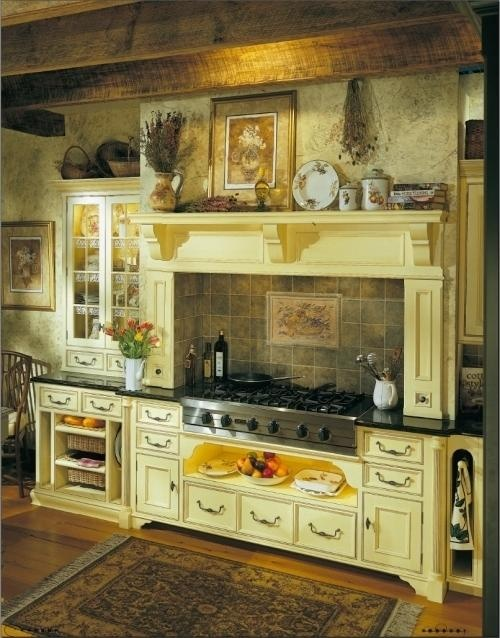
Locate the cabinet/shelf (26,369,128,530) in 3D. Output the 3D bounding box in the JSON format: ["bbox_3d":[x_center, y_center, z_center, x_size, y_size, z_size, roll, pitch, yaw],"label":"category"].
[{"bbox_3d":[-1.106,0.872,3.823,1.030,0.931,0.357,2,0,26],"label":"cabinet/shelf"}]

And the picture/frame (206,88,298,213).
[{"bbox_3d":[0.034,-0.947,3.287,0.770,0.880,0.064,3,6,29],"label":"picture/frame"}]

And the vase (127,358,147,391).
[{"bbox_3d":[-0.695,0.334,3.563,0.186,0.173,0.107,6,11,28],"label":"vase"}]

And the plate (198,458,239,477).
[{"bbox_3d":[-0.192,0.875,3.456,0.227,0.035,0.269,-2,5,-7],"label":"plate"}]

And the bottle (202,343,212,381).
[{"bbox_3d":[-0.270,0.272,3.757,0.062,0.256,0.138,-2,5,-9],"label":"bottle"}]

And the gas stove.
[{"bbox_3d":[0.157,0.537,3.283,1.032,0.229,0.470,1,6,26],"label":"gas stove"}]

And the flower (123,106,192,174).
[{"bbox_3d":[-0.539,-1.078,3.554,0.364,0.399,0.168,3,7,40],"label":"flower"}]

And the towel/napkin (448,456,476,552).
[{"bbox_3d":[1.017,0.876,2.809,0.107,0.411,0.175,1,5,20],"label":"towel/napkin"}]

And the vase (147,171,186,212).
[{"bbox_3d":[-0.503,-0.757,3.485,0.236,0.232,0.170,-3,13,-19],"label":"vase"}]

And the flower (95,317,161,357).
[{"bbox_3d":[-0.715,0.150,3.602,0.284,0.188,0.277,3,-10,-25],"label":"flower"}]

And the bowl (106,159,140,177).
[{"bbox_3d":[-0.838,-0.986,3.937,0.165,0.070,0.160,0,10,0],"label":"bowl"}]

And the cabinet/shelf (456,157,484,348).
[{"bbox_3d":[1.077,-0.319,2.861,0.112,0.878,0.090,0,5,16],"label":"cabinet/shelf"}]

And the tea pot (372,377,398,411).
[{"bbox_3d":[0.705,0.390,3.125,0.125,0.146,0.166,-3,8,-21],"label":"tea pot"}]

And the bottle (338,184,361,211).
[{"bbox_3d":[0.511,-0.623,3.004,0.115,0.146,0.138,0,5,9],"label":"bottle"}]

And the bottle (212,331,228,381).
[{"bbox_3d":[-0.195,0.234,3.748,0.105,0.318,0.087,0,5,11],"label":"bottle"}]

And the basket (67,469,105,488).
[{"bbox_3d":[-1.084,1.095,3.909,0.231,0.079,0.147,5,2,15],"label":"basket"}]

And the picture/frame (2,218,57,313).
[{"bbox_3d":[-1.728,-0.434,4.643,0.781,0.845,0.038,3,7,22],"label":"picture/frame"}]

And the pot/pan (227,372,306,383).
[{"bbox_3d":[0.068,0.367,3.641,0.274,0.035,0.155,1,2,12],"label":"pot/pan"}]

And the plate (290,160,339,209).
[{"bbox_3d":[0.347,-0.711,3.118,0.267,0.253,0.035,10,9,30],"label":"plate"}]

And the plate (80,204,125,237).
[{"bbox_3d":[-1.068,-0.688,4.158,0.283,0.265,0.064,4,6,34],"label":"plate"}]

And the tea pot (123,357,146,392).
[{"bbox_3d":[-0.697,0.338,3.577,0.197,0.179,0.112,5,10,27],"label":"tea pot"}]

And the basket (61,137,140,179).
[{"bbox_3d":[-1.078,-1.138,4.220,0.582,0.194,0.385,-4,21,-6],"label":"basket"}]

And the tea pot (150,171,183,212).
[{"bbox_3d":[-0.481,-0.754,3.492,0.146,0.243,0.218,3,6,39],"label":"tea pot"}]

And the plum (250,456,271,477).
[{"bbox_3d":[0.064,0.818,3.262,0.096,0.036,0.093,3,1,4],"label":"plum"}]
